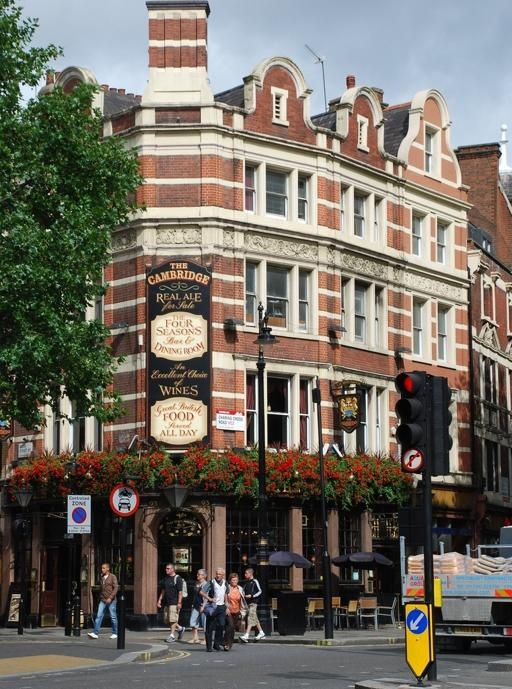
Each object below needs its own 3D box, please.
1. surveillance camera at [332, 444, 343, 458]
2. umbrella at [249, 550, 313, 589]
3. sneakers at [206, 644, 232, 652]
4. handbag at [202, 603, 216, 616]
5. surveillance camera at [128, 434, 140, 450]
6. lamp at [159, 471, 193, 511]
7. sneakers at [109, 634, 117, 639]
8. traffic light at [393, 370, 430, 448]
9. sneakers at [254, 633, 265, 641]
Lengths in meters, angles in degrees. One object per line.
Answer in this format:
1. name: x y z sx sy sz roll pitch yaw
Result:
1. surveillance camera: 2.100 2.748 36.770 0.093 0.304 0.320 -16 1 19
2. umbrella: 0.717 5.191 33.927 1.385 0.901 1.391 -1 -9 6
3. sneakers: -0.703 5.623 26.323 0.422 0.193 0.135 -11 -1 13
4. handbag: -0.842 4.857 26.149 0.176 0.241 0.084 -2 3 32
5. surveillance camera: -2.999 2.372 34.390 0.275 0.463 0.561 0 -13 -1
6. lamp: -1.862 3.401 33.657 0.723 1.048 0.765 -3 -46 2
7. sneakers: -3.001 6.098 29.652 0.086 0.107 0.245 -1 -13 5
8. traffic light: 1.938 0.813 17.804 0.438 1.008 0.401 -4 -13 18
9. sneakers: 0.074 5.983 29.111 0.083 0.118 0.252 -17 -8 19
